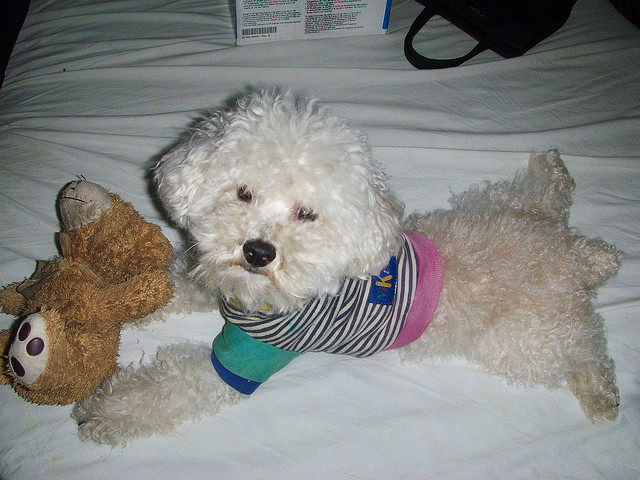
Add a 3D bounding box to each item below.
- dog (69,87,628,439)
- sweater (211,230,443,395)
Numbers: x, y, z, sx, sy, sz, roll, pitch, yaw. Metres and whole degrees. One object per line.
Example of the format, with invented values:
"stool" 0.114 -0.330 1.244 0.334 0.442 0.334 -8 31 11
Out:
"dog" 0.165 0.135 2.195 2.116 0.723 1.207 0 78 -3
"sweater" 0.085 0.318 2.238 0.787 0.234 0.537 -17 62 9
